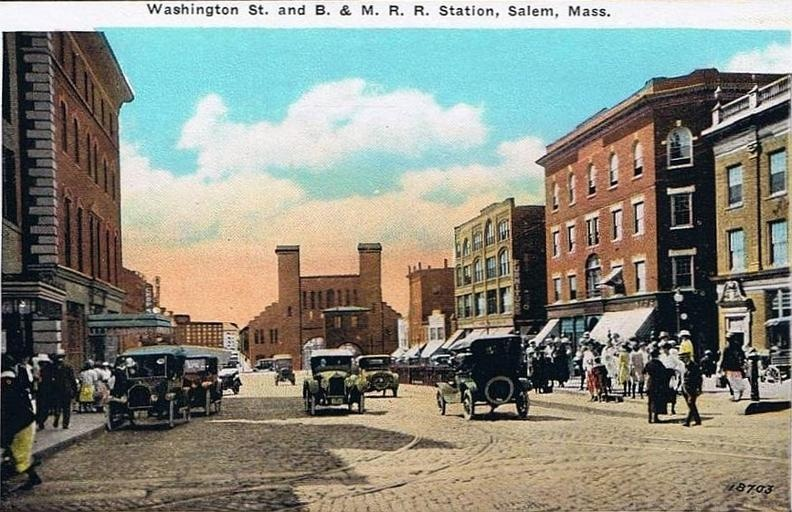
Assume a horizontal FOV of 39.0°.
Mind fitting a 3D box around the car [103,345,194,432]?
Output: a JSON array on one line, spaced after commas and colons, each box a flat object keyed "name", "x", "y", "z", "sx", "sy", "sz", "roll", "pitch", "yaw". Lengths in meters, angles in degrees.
[{"name": "car", "x": -9.161, "y": 4.803, "z": 41.503, "sx": 3.093, "sy": 2.302, "sz": 6.505, "roll": 0, "pitch": -3, "yaw": -5}]

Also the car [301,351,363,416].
[{"name": "car", "x": -2.599, "y": 4.986, "z": 44.939, "sx": 2.304, "sy": 2.716, "sz": 2.421, "roll": 0, "pitch": -11, "yaw": -5}]
